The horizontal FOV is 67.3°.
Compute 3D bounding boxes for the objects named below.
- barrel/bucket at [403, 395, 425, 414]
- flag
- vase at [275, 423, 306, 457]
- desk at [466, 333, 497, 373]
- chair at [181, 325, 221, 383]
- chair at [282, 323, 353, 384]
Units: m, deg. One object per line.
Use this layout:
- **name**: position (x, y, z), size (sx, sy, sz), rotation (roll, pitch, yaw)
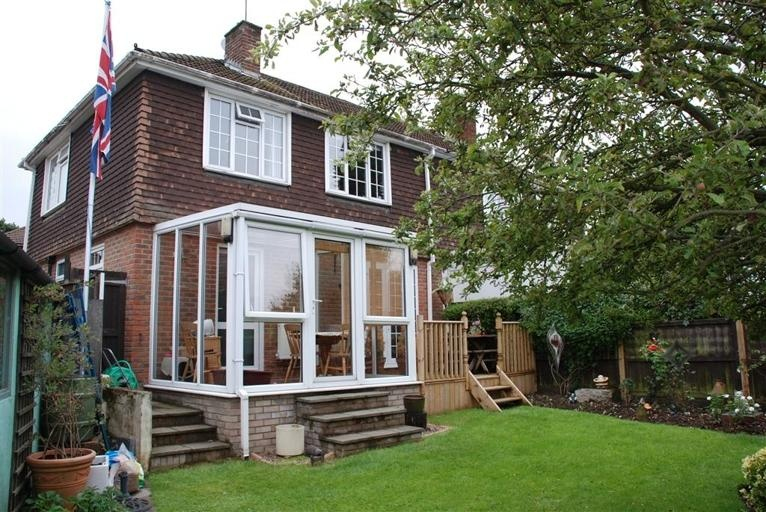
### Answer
- **barrel/bucket**: position (0.617, 3.000, 11.521), size (0.328, 0.235, 0.346), rotation (-2, -22, -1)
- **flag**: position (-5.648, -3.426, 11.607), size (0.373, 3.627, 0.789), rotation (0, 3, -18)
- **vase**: position (-1.656, 3.265, 10.121), size (0.479, 0.456, 0.471), rotation (1, -3, -10)
- **desk**: position (2.606, 2.640, 15.505), size (1.128, 1.079, 0.759), rotation (5, -11, -38)
- **chair**: position (-3.367, 1.834, 10.877), size (0.596, 0.943, 0.559), rotation (-2, 7, 20)
- **chair**: position (-1.417, 1.910, 11.391), size (1.285, 1.422, 0.965), rotation (4, -7, -32)
